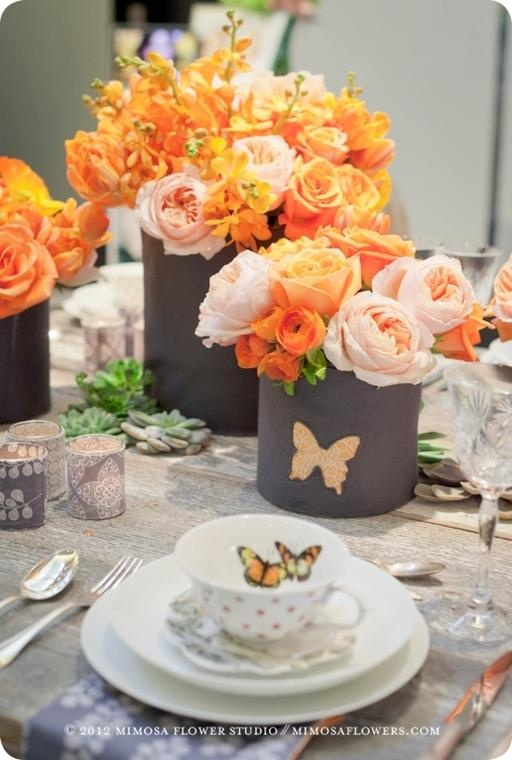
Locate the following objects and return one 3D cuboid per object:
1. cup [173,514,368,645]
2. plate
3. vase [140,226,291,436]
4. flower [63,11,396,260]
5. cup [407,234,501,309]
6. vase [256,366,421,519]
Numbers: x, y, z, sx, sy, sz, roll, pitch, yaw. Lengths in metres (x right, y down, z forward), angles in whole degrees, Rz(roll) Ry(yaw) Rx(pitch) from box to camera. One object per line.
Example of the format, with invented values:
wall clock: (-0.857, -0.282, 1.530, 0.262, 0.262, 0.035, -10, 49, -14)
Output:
cup: (0.010, 0.117, 0.387, 0.105, 0.040, 0.096, 0, 10, 0)
plate: (-0.002, 0.147, 0.389, 0.194, 0.046, 0.159, 2, 12, 12)
vase: (-0.059, -0.079, 0.892, 0.187, 0.269, 0.174, -16, 33, -38)
flower: (-0.038, -0.233, 0.753, 0.323, 0.149, 0.288, 8, 11, 17)
cup: (0.285, -0.164, 1.015, 0.121, 0.087, 0.113, -2, 14, 0)
vase: (0.083, 0.054, 0.691, 0.158, 0.107, 0.138, 3, 9, 13)
